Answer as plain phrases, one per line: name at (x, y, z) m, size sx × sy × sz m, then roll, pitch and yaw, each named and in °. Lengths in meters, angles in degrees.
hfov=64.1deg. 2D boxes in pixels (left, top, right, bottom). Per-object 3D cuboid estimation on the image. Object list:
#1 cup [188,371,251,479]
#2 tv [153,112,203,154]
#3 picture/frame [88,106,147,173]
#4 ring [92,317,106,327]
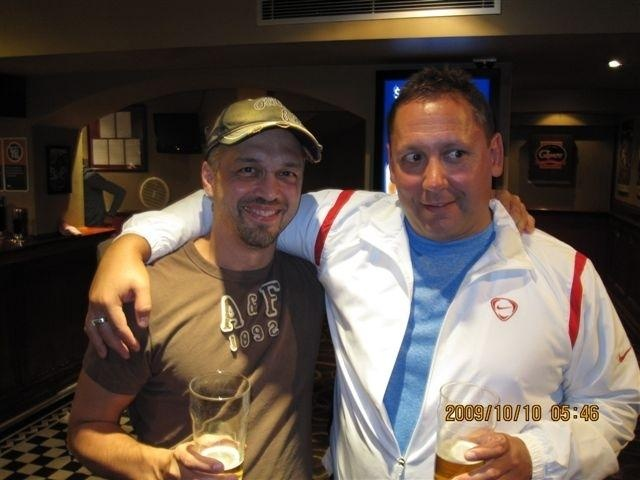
cup at (-0.315, 0.574, 1.590) m, size 0.189 × 0.276 × 0.197 m, roll 1°, pitch 3°, yaw 0°
tv at (-2.326, -1.772, 8.426) m, size 0.804 × 0.758 × 0.094 m, roll -5°, pitch 37°, yaw -20°
picture/frame at (-3.591, -1.795, 8.991) m, size 0.936 × 1.204 × 0.085 m, roll -3°, pitch -11°, yaw -16°
ring at (-0.773, 0.282, 1.782) m, size 0.052 × 0.030 × 0.014 m, roll 2°, pitch 3°, yaw 18°
